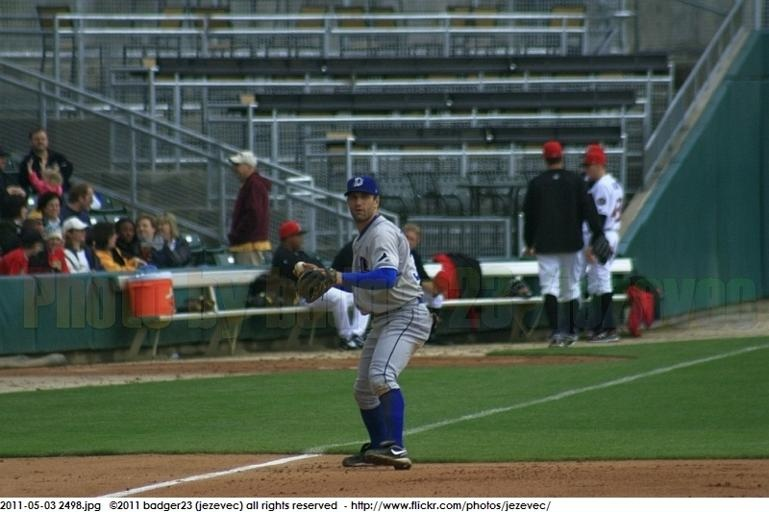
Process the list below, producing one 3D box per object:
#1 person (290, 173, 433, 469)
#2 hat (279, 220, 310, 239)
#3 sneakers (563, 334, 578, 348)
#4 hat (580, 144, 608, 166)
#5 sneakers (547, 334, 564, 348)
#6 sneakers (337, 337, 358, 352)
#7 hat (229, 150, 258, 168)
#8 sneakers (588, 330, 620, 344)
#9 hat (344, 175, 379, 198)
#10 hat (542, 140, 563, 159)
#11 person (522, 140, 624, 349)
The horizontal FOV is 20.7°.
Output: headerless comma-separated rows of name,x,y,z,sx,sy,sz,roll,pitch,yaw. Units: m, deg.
person,-0.101,0.890,28.541,1.509,3.929,0.478,-1,-2,0
hat,-1.451,-0.399,33.382,0.361,0.193,0.253,-9,11,-20
sneakers,2.929,1.327,32.969,0.203,0.163,0.153,11,2,5
hat,3.325,-1.584,33.438,0.343,0.380,0.412,3,4,12
sneakers,2.702,1.332,32.993,0.178,0.200,0.073,1,-8,6
sneakers,-0.556,1.390,33.241,0.369,0.243,0.118,0,4,7
hat,-2.240,-1.523,33.655,0.420,0.213,0.263,4,2,-9
sneakers,3.487,1.285,33.291,0.466,0.196,0.177,1,1,-5
hat,-0.295,-0.939,28.556,0.434,0.268,0.286,0,-2,-9
hat,2.639,-1.675,32.917,0.264,0.204,0.356,-4,36,4
person,2.828,-0.171,32.956,1.259,3.136,0.609,-1,-2,3
